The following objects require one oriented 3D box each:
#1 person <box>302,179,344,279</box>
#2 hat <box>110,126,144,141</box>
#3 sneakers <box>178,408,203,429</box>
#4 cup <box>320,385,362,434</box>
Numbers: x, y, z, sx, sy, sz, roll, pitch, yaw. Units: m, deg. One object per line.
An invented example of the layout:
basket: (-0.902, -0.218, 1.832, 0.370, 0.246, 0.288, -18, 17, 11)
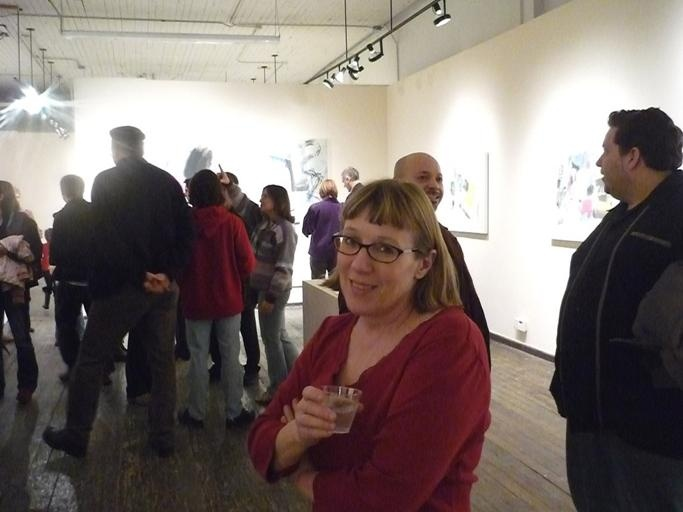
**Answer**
person: (-0.226, -0.216, 6.592, 0.542, 1.768, 0.575, -3, 20, -18)
hat: (-1.289, -0.735, 2.865, 0.194, 0.087, 0.191, -1, 12, -13)
sneakers: (-1.137, 1.233, 3.620, 0.150, 0.130, 0.131, 2, -2, 12)
cup: (0.001, 0.380, 1.202, 0.094, 0.117, 0.103, 1, -5, 0)
